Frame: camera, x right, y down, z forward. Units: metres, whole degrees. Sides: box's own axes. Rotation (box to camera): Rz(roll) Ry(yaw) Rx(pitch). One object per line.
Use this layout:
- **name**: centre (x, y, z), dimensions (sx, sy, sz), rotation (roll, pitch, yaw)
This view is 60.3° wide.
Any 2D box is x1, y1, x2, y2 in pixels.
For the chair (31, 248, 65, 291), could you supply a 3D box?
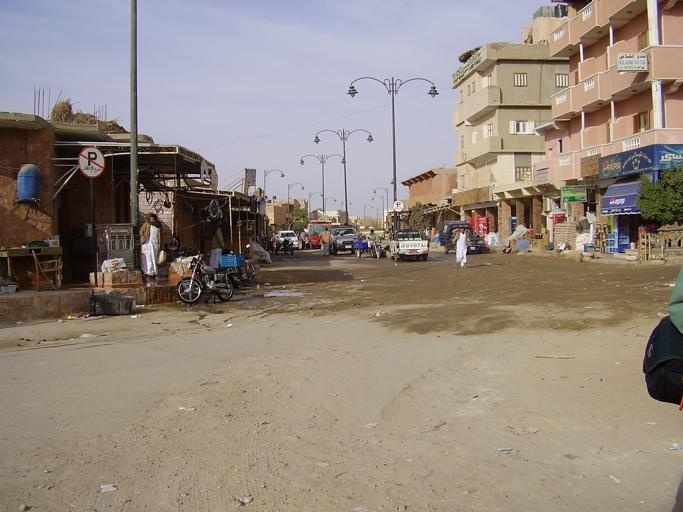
- **chair**: centre (-7.733, 0.322, 15.328), dimensions (0.762, 1.209, 0.600), rotation (-4, -4, 35)

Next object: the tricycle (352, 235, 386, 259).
- **tricycle**: centre (1.874, -0.687, 41.478), dimensions (1.103, 1.570, 2.496), rotation (-2, 0, -30)

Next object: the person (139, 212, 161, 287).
- **person**: centre (-5.509, -0.217, 17.053), dimensions (0.658, 1.982, 0.617), rotation (-5, 6, -43)

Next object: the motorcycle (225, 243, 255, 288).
- **motorcycle**: centre (-3.528, 0.369, 20.541), dimensions (0.692, 0.877, 1.251), rotation (-2, -3, 0)

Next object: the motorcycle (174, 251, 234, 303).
- **motorcycle**: centre (-3.745, 0.589, 16.487), dimensions (1.051, 1.410, 2.038), rotation (-11, -6, 38)

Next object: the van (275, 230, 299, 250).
- **van**: centre (-5.301, -1.804, 57.734), dimensions (1.398, 1.343, 3.312), rotation (-1, -5, -6)

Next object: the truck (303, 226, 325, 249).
- **truck**: centre (-3.159, -2.167, 68.257), dimensions (1.878, 1.906, 2.959), rotation (0, 5, -3)

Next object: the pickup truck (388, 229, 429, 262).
- **pickup truck**: centre (3.943, -0.761, 35.566), dimensions (1.239, 1.262, 2.573), rotation (0, 6, -6)

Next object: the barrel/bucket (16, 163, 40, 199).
- **barrel/bucket**: centre (-8.644, -2.021, 16.303), dimensions (0.569, 1.132, 0.612), rotation (-4, -8, -1)
